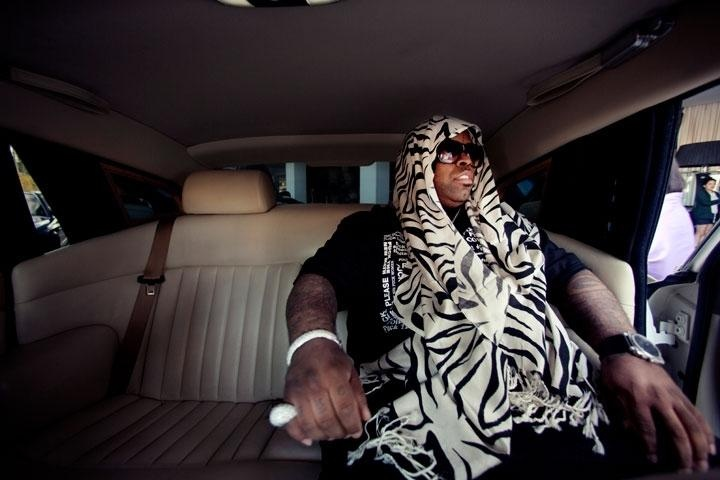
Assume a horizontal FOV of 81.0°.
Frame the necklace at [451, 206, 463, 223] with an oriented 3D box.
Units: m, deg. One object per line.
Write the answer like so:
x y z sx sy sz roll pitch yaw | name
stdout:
0.459 -0.116 2.026 0.055 0.080 0.018 2 -37 8 | necklace

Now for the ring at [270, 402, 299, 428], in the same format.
-0.252 0.575 1.385 0.088 0.072 0.024 -26 -20 -38 | ring
